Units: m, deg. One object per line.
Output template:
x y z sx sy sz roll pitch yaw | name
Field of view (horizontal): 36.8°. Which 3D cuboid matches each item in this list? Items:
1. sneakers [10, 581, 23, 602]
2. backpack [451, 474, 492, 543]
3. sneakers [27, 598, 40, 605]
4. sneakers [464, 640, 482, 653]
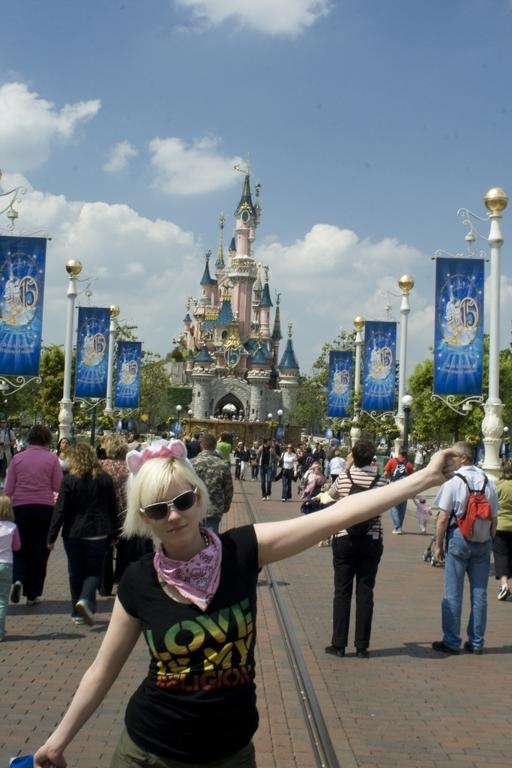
-2.427 2.110 7.817 0.098 0.280 0.125 3 2 5 | sneakers
1.934 1.084 6.759 0.321 0.588 0.311 3 -1 -15 | backpack
-2.288 2.236 7.982 0.051 0.052 0.139 2 2 24 | sneakers
1.868 2.267 6.641 0.152 0.079 0.170 1 -1 16 | sneakers
